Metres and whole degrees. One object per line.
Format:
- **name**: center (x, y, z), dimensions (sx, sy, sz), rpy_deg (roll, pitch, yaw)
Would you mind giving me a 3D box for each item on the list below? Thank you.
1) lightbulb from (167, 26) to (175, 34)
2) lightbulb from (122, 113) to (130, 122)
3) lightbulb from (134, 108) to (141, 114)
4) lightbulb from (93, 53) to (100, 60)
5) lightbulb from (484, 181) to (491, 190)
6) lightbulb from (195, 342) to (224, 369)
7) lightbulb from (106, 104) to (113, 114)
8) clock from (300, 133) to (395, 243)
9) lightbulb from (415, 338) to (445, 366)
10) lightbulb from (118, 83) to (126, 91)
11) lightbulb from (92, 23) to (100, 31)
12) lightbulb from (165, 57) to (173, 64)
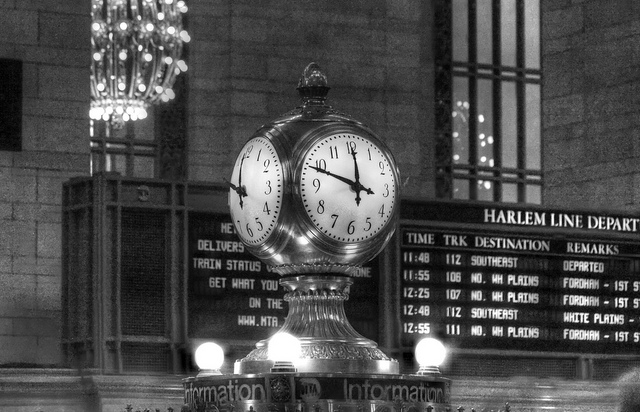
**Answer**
- **lightbulb**: center (-1.982, -2.431, 30.698), dimensions (0.095, 0.080, 0.065), rpy_deg (2, -33, -4)
- **lightbulb**: center (-2.576, -1.201, 30.526), dimensions (0.090, 0.131, 0.150), rpy_deg (0, -32, 1)
- **lightbulb**: center (-2.428, -1.307, 30.586), dimensions (0.131, 0.106, 0.061), rpy_deg (1, -9, -15)
- **lightbulb**: center (-2.991, -2.065, 30.638), dimensions (0.087, 0.080, 0.052), rpy_deg (4, -33, -6)
- **lightbulb**: center (2.455, -0.296, 32.440), dimensions (0.095, 0.115, 0.048), rpy_deg (3, -34, -4)
- **lightbulb**: center (-1.115, 1.603, 23.435), dimensions (0.281, 0.325, 0.239), rpy_deg (3, -33, -4)
- **lightbulb**: center (-2.806, -1.332, 30.560), dimensions (0.086, 0.087, 0.104), rpy_deg (1, -32, -2)
- **clock**: center (0.267, -0.169, 22.988), dimensions (1.215, 1.053, 0.155), rpy_deg (5, -11, -21)
- **lightbulb**: center (1.153, 1.561, 23.462), dimensions (0.300, 0.294, 0.290), rpy_deg (1, -4, -2)
- **lightbulb**: center (-2.637, -1.646, 30.557), dimensions (0.096, 0.121, 0.089), rpy_deg (7, -33, -10)
- **lightbulb**: center (-2.997, -2.478, 30.688), dimensions (0.097, 0.065, 0.098), rpy_deg (10, -33, -16)
- **lightbulb**: center (-2.016, -2.010, 30.717), dimensions (0.109, 0.087, 0.048), rpy_deg (-14, -36, 21)
